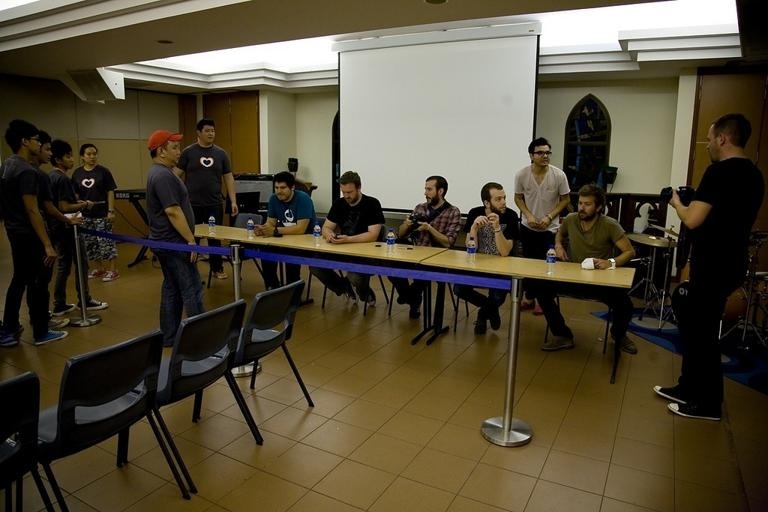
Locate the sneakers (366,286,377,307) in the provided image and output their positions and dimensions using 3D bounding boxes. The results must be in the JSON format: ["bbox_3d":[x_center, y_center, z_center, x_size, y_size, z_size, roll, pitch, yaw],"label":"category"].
[{"bbox_3d":[-0.163,0.529,6.915,0.095,0.282,0.118,-7,42,-2],"label":"sneakers"}]

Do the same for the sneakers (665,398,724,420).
[{"bbox_3d":[2.766,1.379,4.772,0.473,0.204,0.169,4,5,25],"label":"sneakers"}]

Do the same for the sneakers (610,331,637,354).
[{"bbox_3d":[2.588,0.922,5.788,0.171,0.149,0.367,-6,10,-11],"label":"sneakers"}]

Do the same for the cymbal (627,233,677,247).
[{"bbox_3d":[3.165,-0.181,6.212,0.287,0.081,0.295,-1,10,-13],"label":"cymbal"}]

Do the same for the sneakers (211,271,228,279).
[{"bbox_3d":[-2.489,0.287,8.018,0.218,0.105,0.106,1,7,23],"label":"sneakers"}]

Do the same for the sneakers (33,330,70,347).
[{"bbox_3d":[-3.658,0.883,5.832,0.318,0.143,0.126,-11,16,-40],"label":"sneakers"}]

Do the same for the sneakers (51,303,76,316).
[{"bbox_3d":[-3.943,0.668,6.566,0.108,0.117,0.311,6,12,27],"label":"sneakers"}]

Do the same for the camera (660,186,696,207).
[{"bbox_3d":[2.666,-0.569,4.807,0.244,0.094,0.238,-1,3,-42],"label":"camera"}]

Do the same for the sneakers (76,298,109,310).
[{"bbox_3d":[-3.702,0.622,6.696,0.387,0.163,0.145,-1,11,-18],"label":"sneakers"}]

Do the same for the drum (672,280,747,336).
[{"bbox_3d":[3.035,0.470,4.918,0.447,0.440,0.458,11,-16,22],"label":"drum"}]

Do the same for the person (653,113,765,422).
[{"bbox_3d":[2.830,0.116,4.597,0.686,2.615,0.493,3,13,19],"label":"person"}]

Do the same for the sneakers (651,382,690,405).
[{"bbox_3d":[2.642,1.279,4.887,0.101,0.123,0.297,-4,3,-32],"label":"sneakers"}]

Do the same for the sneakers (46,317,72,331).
[{"bbox_3d":[-3.778,0.789,6.129,0.273,0.118,0.105,1,6,11],"label":"sneakers"}]

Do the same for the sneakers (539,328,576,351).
[{"bbox_3d":[1.897,0.947,5.838,0.412,0.210,0.177,0,0,-3],"label":"sneakers"}]
